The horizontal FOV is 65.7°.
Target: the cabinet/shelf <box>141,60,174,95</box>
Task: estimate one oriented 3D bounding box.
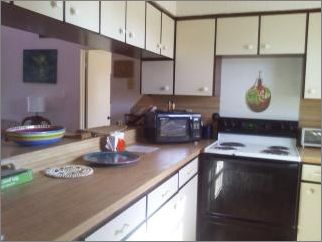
[{"bbox_3d":[-0.003,-0.553,3.182,0.461,0.427,0.338,3,8,15],"label":"cabinet/shelf"}]

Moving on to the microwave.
[{"bbox_3d":[0.171,0.069,2.832,0.541,0.358,0.370,-1,4,-16],"label":"microwave"}]

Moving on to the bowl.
[{"bbox_3d":[-0.957,0.102,1.918,0.394,0.131,0.417,5,9,-1],"label":"bowl"}]

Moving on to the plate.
[{"bbox_3d":[-0.395,0.289,1.988,0.432,0.062,0.424,3,9,-10],"label":"plate"}]
